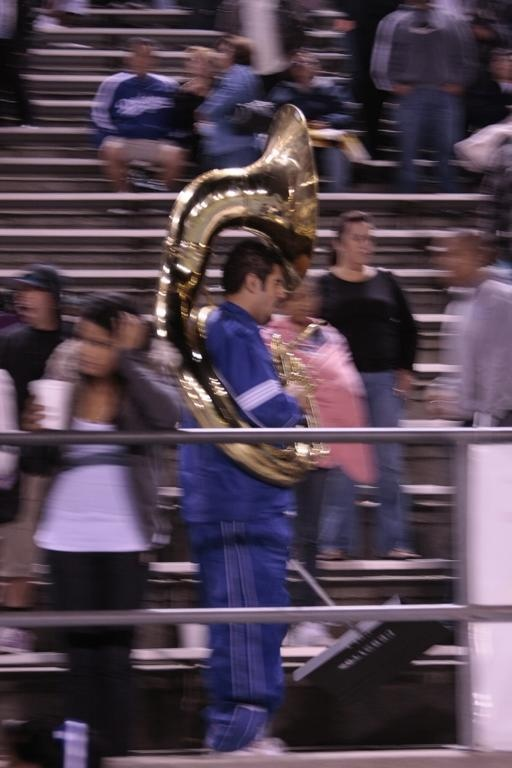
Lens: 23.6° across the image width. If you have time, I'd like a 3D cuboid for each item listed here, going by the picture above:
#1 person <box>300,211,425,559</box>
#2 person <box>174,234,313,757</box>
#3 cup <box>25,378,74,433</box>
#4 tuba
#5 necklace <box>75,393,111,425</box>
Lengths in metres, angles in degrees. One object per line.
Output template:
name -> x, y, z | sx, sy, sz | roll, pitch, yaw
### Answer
person -> 0.353, 0.021, 4.692 | 0.551, 1.181, 0.450 | 0, 2, -3
person -> -0.074, 0.309, 3.523 | 0.482, 1.526, 0.479 | -7, 13, -44
cup -> -0.572, 0.074, 3.459 | 0.147, 0.141, 0.136 | -2, -32, -1
tuba -> -0.016, -0.261, 3.461 | 0.540, 1.041, 0.517 | -7, 20, -26
necklace -> -0.444, 0.070, 3.287 | 0.091, 0.057, 0.032 | 5, 3, 7
